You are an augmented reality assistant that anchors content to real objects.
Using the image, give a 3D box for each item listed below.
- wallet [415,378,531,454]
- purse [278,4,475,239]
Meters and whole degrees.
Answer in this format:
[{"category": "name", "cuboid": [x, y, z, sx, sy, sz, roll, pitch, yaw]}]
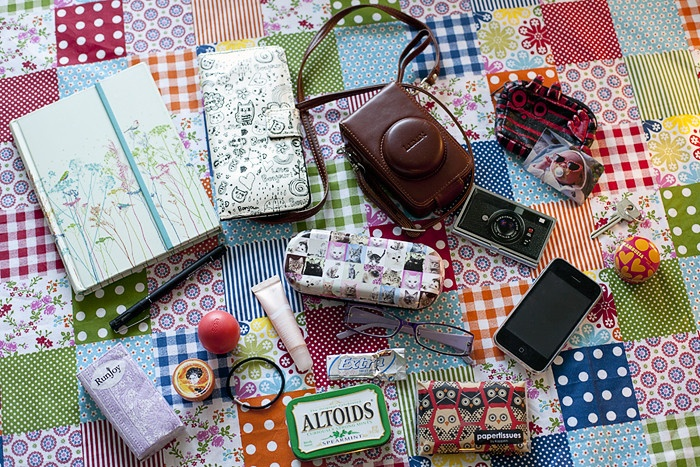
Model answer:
[{"category": "wallet", "cuboid": [0.473, 0.724, 2.653, 0.392, 0.113, 0.291, -1, 81, 1]}, {"category": "purse", "cuboid": [0.138, -0.500, 2.823, 0.737, 0.242, 1.051, -10, 84, 0]}]
